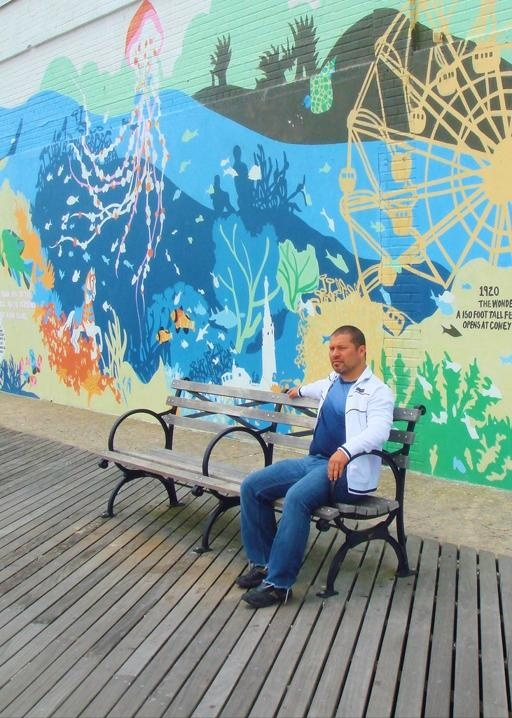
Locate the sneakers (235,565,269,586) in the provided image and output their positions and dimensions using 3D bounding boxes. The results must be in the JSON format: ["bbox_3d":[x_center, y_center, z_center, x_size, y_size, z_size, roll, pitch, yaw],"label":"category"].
[{"bbox_3d":[-0.022,1.106,2.559,0.149,0.070,0.082,-9,17,-24],"label":"sneakers"}]

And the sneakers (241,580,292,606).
[{"bbox_3d":[0.057,1.108,2.366,0.240,0.107,0.089,4,1,-22],"label":"sneakers"}]
